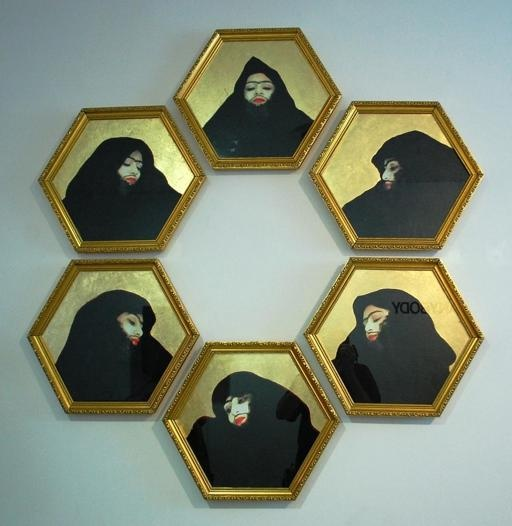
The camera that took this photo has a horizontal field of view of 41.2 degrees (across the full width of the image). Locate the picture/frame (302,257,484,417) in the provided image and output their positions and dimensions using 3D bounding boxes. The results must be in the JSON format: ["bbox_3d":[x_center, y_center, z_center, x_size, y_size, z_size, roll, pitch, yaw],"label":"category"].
[{"bbox_3d":[0.581,0.342,2.874,0.671,0.050,0.572,-1,-92,0],"label":"picture/frame"}]

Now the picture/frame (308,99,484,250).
[{"bbox_3d":[0.588,-0.356,2.929,0.645,0.033,0.535,-2,-91,-1],"label":"picture/frame"}]

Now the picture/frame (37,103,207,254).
[{"bbox_3d":[-0.555,-0.346,2.958,0.659,0.038,0.564,-1,-92,7],"label":"picture/frame"}]

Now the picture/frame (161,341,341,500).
[{"bbox_3d":[-0.003,0.687,2.853,0.620,0.033,0.514,-8,-101,-2],"label":"picture/frame"}]

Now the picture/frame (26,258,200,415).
[{"bbox_3d":[-0.588,0.340,2.909,0.677,0.031,0.559,0,-96,-2],"label":"picture/frame"}]

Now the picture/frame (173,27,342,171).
[{"bbox_3d":[0.018,-0.688,2.953,0.630,0.028,0.520,-3,-102,-2],"label":"picture/frame"}]
